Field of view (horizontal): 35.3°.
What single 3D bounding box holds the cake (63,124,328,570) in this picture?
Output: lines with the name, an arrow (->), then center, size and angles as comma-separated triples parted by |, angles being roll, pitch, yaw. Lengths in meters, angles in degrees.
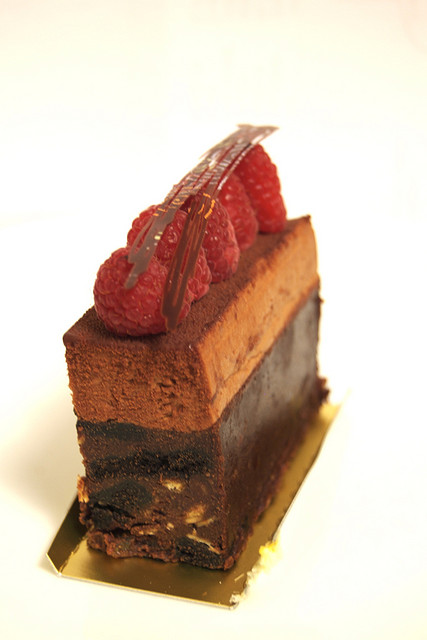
cake -> -0.001, -0.036, 2.130 | 0.505, 1.073, 1.196 | 4, 25, 19
